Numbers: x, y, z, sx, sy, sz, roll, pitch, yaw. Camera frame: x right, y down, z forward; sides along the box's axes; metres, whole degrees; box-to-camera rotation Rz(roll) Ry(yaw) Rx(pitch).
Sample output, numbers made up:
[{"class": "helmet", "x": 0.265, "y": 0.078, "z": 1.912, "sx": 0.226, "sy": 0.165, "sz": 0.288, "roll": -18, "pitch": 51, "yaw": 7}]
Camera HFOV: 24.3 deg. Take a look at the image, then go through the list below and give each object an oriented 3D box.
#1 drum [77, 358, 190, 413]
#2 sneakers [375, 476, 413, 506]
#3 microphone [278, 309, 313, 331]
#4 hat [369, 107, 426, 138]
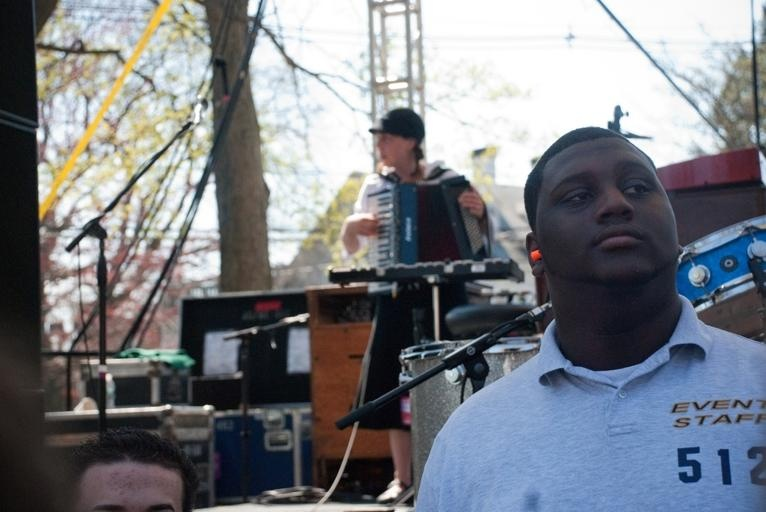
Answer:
[{"class": "drum", "x": -2.088, "y": 1.081, "z": 15.184, "sx": 1.114, "sy": 0.381, "sz": 0.612, "roll": 3, "pitch": -13, "yaw": -32}, {"class": "sneakers", "x": 0.086, "y": 1.705, "z": 12.882, "sx": 0.290, "sy": 0.122, "sz": 0.126, "roll": 5, "pitch": -10, "yaw": -40}, {"class": "microphone", "x": -0.743, "y": 0.518, "z": 14.237, "sx": 0.114, "sy": 0.130, "sz": 0.472, "roll": -15, "pitch": 2, "yaw": -41}, {"class": "hat", "x": 0.140, "y": -1.006, "z": 13.511, "sx": 0.307, "sy": 0.164, "sz": 0.229, "roll": 15, "pitch": -7, "yaw": -6}]
